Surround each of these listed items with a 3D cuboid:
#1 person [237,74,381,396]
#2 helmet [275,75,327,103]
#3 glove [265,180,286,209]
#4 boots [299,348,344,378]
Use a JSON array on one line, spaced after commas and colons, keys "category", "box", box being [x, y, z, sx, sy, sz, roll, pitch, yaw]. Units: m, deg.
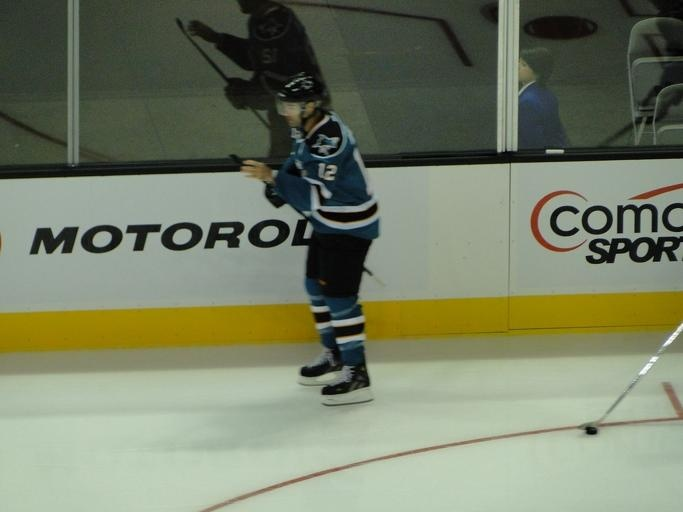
[{"category": "person", "box": [-0.030, -0.147, 5.018, 0.627, 1.787, 0.956, -8, -19, 3]}, {"category": "helmet", "box": [-0.167, -0.876, 4.798, 0.224, 0.078, 0.158, 6, 25, 20]}, {"category": "glove", "box": [-0.322, -0.341, 5.037, 0.041, 0.123, 0.125, -43, 4, 5]}, {"category": "boots", "box": [-0.099, 0.590, 5.230, 0.335, 0.174, 0.104, -3, 0, -6]}]
